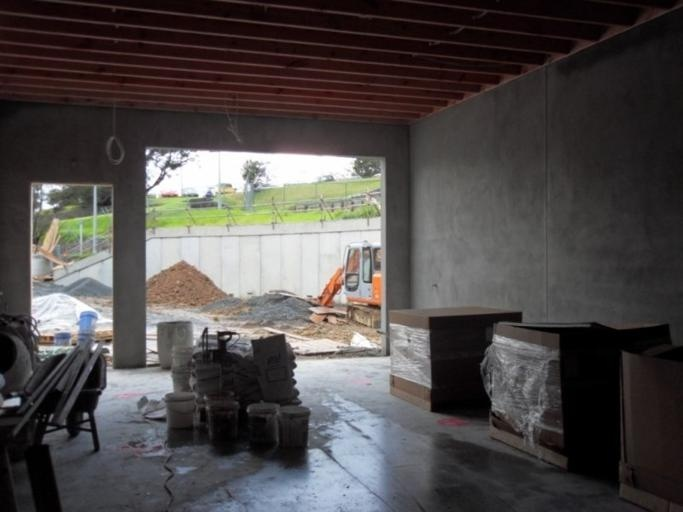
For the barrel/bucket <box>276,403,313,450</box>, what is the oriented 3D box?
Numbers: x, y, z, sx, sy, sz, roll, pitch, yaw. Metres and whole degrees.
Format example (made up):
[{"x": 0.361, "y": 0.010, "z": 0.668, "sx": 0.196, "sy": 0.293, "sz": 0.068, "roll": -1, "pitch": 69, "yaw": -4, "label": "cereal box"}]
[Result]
[{"x": -0.380, "y": 1.481, "z": 4.711, "sx": 0.338, "sy": 0.306, "sz": 0.329, "roll": 1, "pitch": 5, "yaw": 0, "label": "barrel/bucket"}]

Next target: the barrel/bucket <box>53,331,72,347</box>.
[{"x": -4.801, "y": 1.409, "z": 9.104, "sx": 0.251, "sy": 0.229, "sz": 0.249, "roll": 0, "pitch": 0, "yaw": 0, "label": "barrel/bucket"}]

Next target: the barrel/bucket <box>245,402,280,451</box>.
[{"x": -0.695, "y": 1.501, "z": 4.745, "sx": 0.332, "sy": 0.298, "sz": 0.320, "roll": 0, "pitch": 0, "yaw": 0, "label": "barrel/bucket"}]

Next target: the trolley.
[{"x": -2.225, "y": 1.233, "z": 4.447, "sx": 0.501, "sy": 0.576, "sz": 1.028, "roll": 0, "pitch": 9, "yaw": -2, "label": "trolley"}]

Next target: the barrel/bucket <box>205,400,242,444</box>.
[{"x": -1.095, "y": 1.488, "z": 4.926, "sx": 0.293, "sy": 0.357, "sz": 0.277, "roll": -1, "pitch": 1, "yaw": 0, "label": "barrel/bucket"}]

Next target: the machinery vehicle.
[{"x": 0.409, "y": 0.719, "z": 14.249, "sx": 1.273, "sy": 1.999, "sz": 3.281, "roll": -5, "pitch": -1, "yaw": -37, "label": "machinery vehicle"}]

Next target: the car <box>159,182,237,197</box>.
[{"x": -9.497, "y": -4.426, "z": 35.330, "sx": 5.177, "sy": 0.832, "sz": 1.018, "roll": -1, "pitch": 1, "yaw": 6, "label": "car"}]

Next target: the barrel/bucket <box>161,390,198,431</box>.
[{"x": -1.544, "y": 1.479, "z": 5.194, "sx": 0.336, "sy": 0.289, "sz": 0.338, "roll": 2, "pitch": 2, "yaw": 0, "label": "barrel/bucket"}]

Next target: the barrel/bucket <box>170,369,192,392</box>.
[{"x": -1.817, "y": 1.380, "z": 5.993, "sx": 0.232, "sy": 0.245, "sz": 0.078, "roll": -1, "pitch": 1, "yaw": 18, "label": "barrel/bucket"}]

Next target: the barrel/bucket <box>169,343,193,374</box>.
[{"x": -1.817, "y": 1.146, "z": 6.093, "sx": 0.303, "sy": 0.286, "sz": 0.365, "roll": 2, "pitch": -3, "yaw": -15, "label": "barrel/bucket"}]
